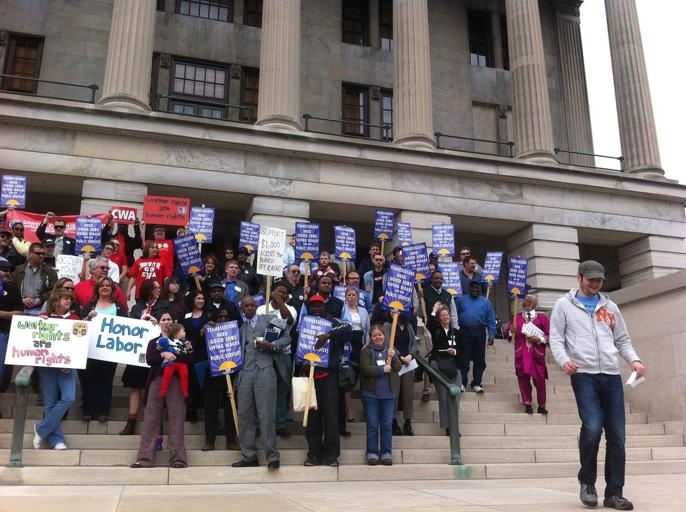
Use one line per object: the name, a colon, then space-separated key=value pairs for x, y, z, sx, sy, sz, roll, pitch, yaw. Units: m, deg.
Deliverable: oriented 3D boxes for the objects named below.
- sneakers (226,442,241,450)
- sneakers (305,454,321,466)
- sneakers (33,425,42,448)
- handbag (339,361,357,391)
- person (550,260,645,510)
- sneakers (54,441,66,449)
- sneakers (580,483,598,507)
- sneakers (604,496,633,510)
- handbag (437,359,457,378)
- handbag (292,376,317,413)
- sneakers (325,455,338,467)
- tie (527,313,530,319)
sneakers: x=-2.008 y=3.557 z=13.201 sx=0.305 sy=0.186 sz=0.100 roll=-2 pitch=-6 yaw=3
sneakers: x=-0.547 y=3.716 z=12.906 sx=0.292 sy=0.201 sz=0.163 roll=2 pitch=-10 yaw=3
sneakers: x=-5.414 y=3.206 z=12.514 sx=0.142 sy=0.431 sz=0.176 roll=-4 pitch=17 yaw=-39
handbag: x=0.074 y=2.274 z=13.399 sx=0.296 sy=0.557 sz=0.506 roll=-14 pitch=-14 yaw=42
person: x=3.827 y=1.901 z=10.721 sx=1.276 sy=3.672 sz=0.557 roll=2 pitch=-10 yaw=0
sneakers: x=-5.034 y=3.381 z=12.580 sx=0.203 sy=0.129 sz=0.251 roll=7 pitch=-11 yaw=-26
sneakers: x=3.634 y=3.530 z=10.432 sx=0.243 sy=0.334 sz=0.266 roll=-1 pitch=-11 yaw=18
sneakers: x=4.017 y=3.600 z=10.317 sx=0.165 sy=0.182 sz=0.444 roll=6 pitch=-16 yaw=-29
handbag: x=2.170 y=2.377 z=14.802 sx=0.278 sy=0.408 sz=0.221 roll=-15 pitch=-7 yaw=-9
handbag: x=-0.704 y=2.534 z=13.003 sx=0.467 sy=0.586 sz=0.332 roll=2 pitch=-10 yaw=-2
sneakers: x=-0.225 y=3.745 z=12.884 sx=0.313 sy=0.154 sz=0.256 roll=0 pitch=-10 yaw=14
tie: x=4.283 y=1.390 z=16.308 sx=0.076 sy=0.108 sz=0.032 roll=-8 pitch=-31 yaw=32
